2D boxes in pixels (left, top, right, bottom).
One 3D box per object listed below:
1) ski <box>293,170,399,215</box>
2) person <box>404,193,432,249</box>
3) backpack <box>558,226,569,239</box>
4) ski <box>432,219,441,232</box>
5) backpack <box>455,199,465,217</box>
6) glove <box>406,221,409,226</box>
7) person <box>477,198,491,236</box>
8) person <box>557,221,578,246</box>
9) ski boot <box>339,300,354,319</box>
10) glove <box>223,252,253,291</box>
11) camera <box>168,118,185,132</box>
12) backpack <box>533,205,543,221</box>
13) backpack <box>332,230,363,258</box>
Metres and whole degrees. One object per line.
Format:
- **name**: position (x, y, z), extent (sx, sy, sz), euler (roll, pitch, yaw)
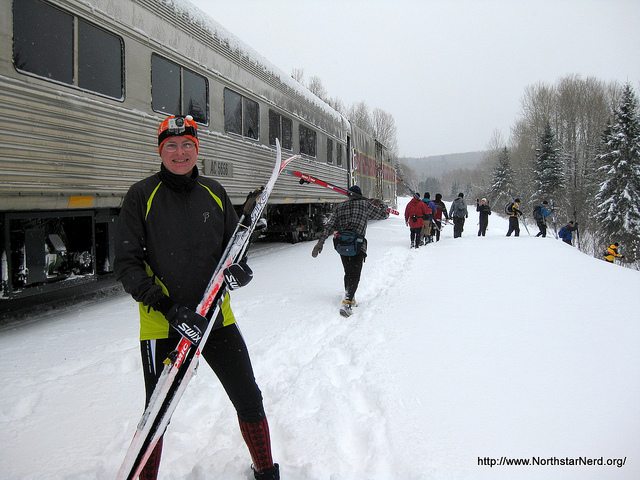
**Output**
- **ski**: position (0.631, -1.097, 9.998), extent (2.747, 0.202, 0.184), euler (24, 47, 4)
- **person**: position (2.487, -0.495, 11.247), extent (0.574, 1.450, 0.943), euler (-2, 6, 12)
- **backpack**: position (9.696, -0.299, 17.653), extent (0.418, 0.574, 0.371), euler (-1, 19, 14)
- **ski**: position (3.847, -0.518, 14.654), extent (0.048, 0.428, 0.059), euler (-25, 15, 20)
- **backpack**: position (4.715, -1.012, 14.879), extent (0.254, 0.449, 0.385), euler (1, 8, 8)
- **glove**: position (2.424, -0.469, 12.221), extent (0.030, 0.143, 0.093), euler (-2, 16, -13)
- **person**: position (6.152, -0.834, 16.657), extent (0.401, 1.449, 1.661), euler (-1, 7, 20)
- **person**: position (11.544, -0.312, 20.553), extent (0.723, 0.768, 1.272), euler (-17, -21, 29)
- **ski boot**: position (0.364, 0.958, 6.017), extent (0.084, 0.174, 0.292), euler (5, -17, 13)
- **glove**: position (-0.565, 0.236, 3.059), extent (0.189, 0.158, 0.220), euler (-16, 51, -19)
- **camera**: position (-0.976, -0.789, 3.040), extent (0.110, 0.122, 0.079), euler (-1, 1, -13)
- **backpack**: position (7.795, -1.001, 15.867), extent (0.330, 0.764, 0.497), euler (5, 13, 25)
- **backpack**: position (0.386, 0.043, 6.111), extent (0.351, 0.341, 0.388), euler (-2, 1, 6)
